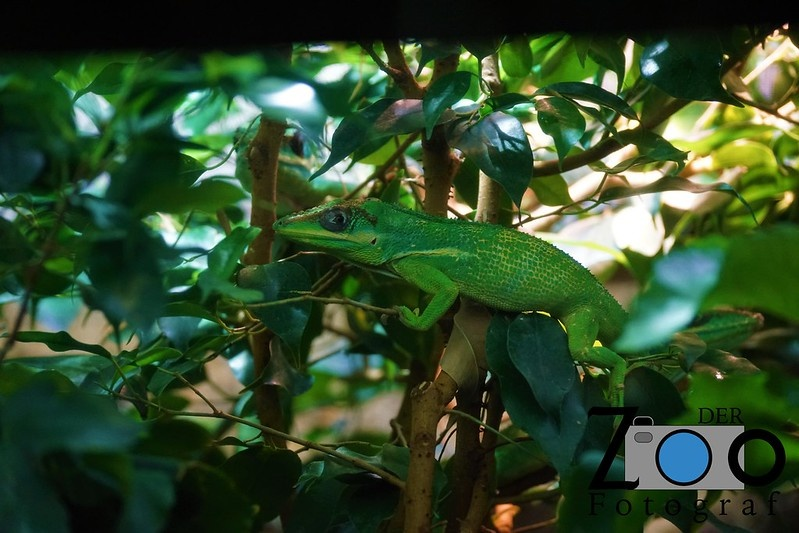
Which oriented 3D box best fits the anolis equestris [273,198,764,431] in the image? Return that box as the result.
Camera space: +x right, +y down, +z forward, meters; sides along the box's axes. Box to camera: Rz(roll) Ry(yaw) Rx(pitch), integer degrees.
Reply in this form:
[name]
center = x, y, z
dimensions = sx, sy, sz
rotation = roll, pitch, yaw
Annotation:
[anolis equestris]
center = 0.145, 0.031, 1.095
dimensions = 0.559, 0.158, 0.260
rotation = 12, 6, 0
